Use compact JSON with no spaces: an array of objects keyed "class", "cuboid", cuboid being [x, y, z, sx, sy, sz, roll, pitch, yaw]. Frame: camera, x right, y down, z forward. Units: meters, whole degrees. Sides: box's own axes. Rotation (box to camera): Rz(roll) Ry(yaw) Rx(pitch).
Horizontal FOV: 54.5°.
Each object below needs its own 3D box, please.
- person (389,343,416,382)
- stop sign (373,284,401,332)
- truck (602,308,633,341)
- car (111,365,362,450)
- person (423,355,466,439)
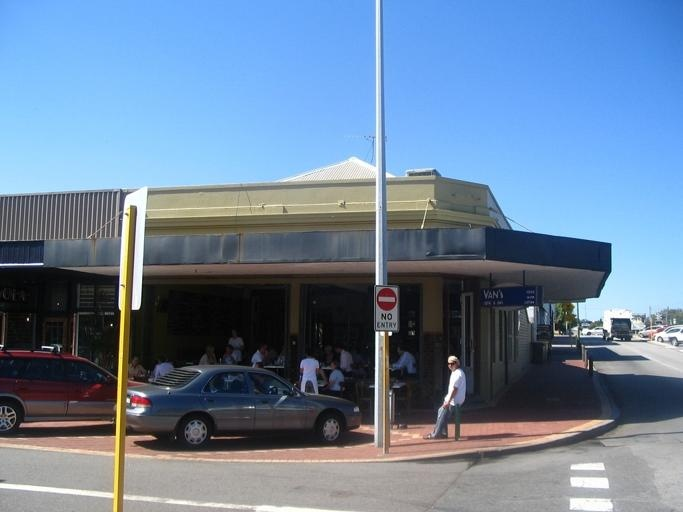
[{"class":"person","cuboid":[1.880,3.472,20.049,0.879,1.393,0.581,3,-8,4]},{"class":"stop sign","cuboid":[0.938,1.082,13.690,0.503,0.955,0.249,1,-5,-8]},{"class":"truck","cuboid":[34.915,8.746,83.785,3.048,3.802,6.065,-2,-7,21]},{"class":"car","cuboid":[-2.449,3.111,14.885,4.990,1.637,1.983,0,-5,-21]},{"class":"person","cuboid":[2.510,3.309,15.621,0.817,1.864,1.385,-1,-6,10]}]
